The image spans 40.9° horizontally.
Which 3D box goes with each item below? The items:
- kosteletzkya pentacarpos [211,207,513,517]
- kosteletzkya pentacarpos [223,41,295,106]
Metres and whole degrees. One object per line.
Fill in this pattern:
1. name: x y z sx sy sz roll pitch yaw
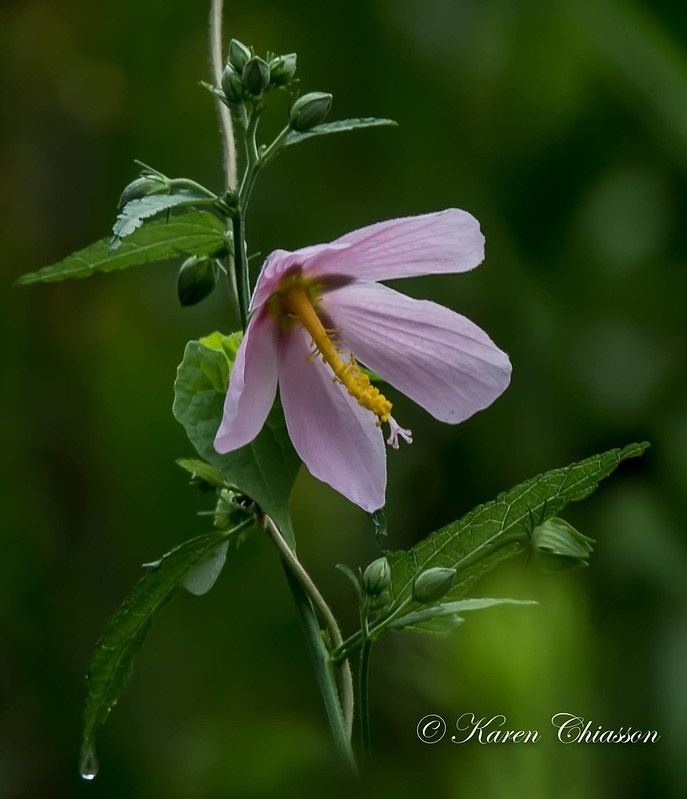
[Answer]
1. kosteletzkya pentacarpos: 0.030 -0.046 0.960 0.284 0.261 0.277 2 53 10
2. kosteletzkya pentacarpos: -0.087 -0.360 0.987 0.074 0.070 0.054 -3 76 11
